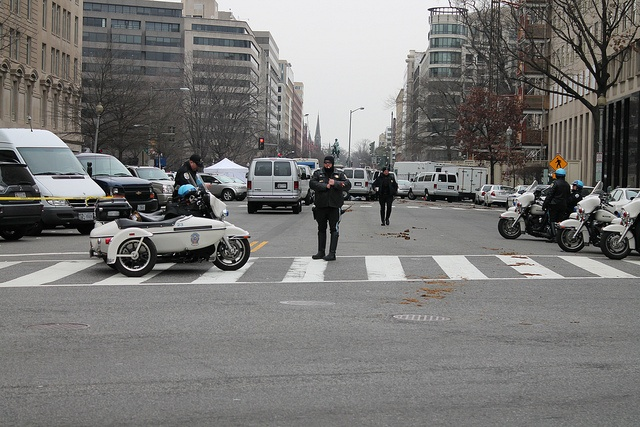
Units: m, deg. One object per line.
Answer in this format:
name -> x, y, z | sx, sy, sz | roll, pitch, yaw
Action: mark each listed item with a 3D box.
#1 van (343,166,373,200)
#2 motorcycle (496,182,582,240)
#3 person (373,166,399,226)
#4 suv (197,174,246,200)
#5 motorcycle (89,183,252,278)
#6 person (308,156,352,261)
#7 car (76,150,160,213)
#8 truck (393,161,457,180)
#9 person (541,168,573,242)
van -> 2.998, -2.688, 56.351 | 1.831, 1.600, 3.053 | 1, 9, 5
motorcycle -> 6.429, -0.084, 21.376 | 2.479, 1.605, 0.775 | 2, 1, 30
person -> 2.401, -0.718, 26.601 | 1.049, 2.254, 0.800 | -1, -2, 10
suv -> -6.704, -1.924, 48.356 | 3.696, 1.481, 1.944 | -1, 7, 1
motorcycle -> -2.961, 0.376, 13.760 | 2.969, 1.607, 0.762 | -1, 8, -17
person -> 0.164, -0.186, 15.846 | 0.975, 2.297, 0.673 | 1, -5, 7
car -> -7.982, -1.306, 26.968 | 1.866, 1.816, 3.878 | -5, 7, -36
truck -> 9.168, -4.205, 70.140 | 2.260, 1.862, 3.618 | -3, 8, -34
person -> 6.899, -0.251, 20.244 | 0.933, 2.083, 0.729 | 0, 0, 5
